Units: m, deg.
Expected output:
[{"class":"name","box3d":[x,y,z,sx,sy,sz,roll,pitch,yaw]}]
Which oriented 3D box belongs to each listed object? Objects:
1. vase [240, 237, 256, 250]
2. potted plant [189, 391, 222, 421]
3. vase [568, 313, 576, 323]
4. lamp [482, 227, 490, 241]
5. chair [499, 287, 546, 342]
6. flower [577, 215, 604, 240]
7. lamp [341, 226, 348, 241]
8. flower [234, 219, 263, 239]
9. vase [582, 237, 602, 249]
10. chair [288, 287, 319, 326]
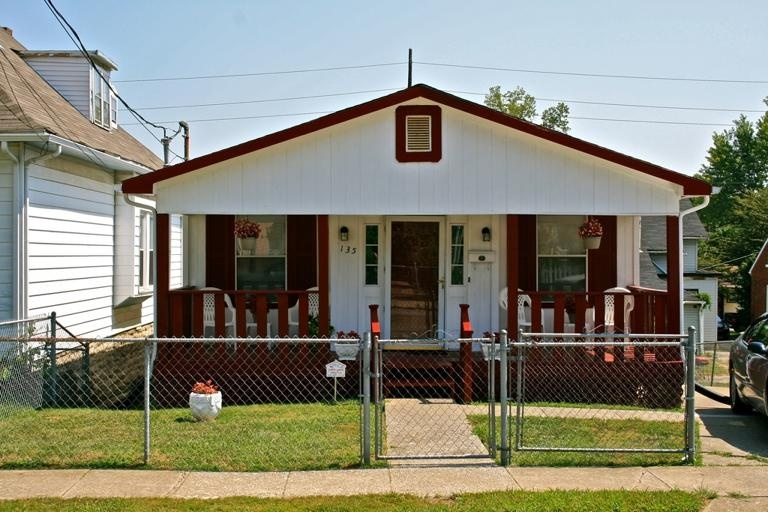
[{"class":"vase","box3d":[-3.281,-0.292,19.686,0.454,0.341,0.252,0,-3,0]},{"class":"potted plant","box3d":[-3.373,2.812,15.363,0.508,0.414,0.524,1,-3,-9]},{"class":"vase","box3d":[4.369,1.440,19.172,0.102,0.271,0.257,5,13,23]},{"class":"lamp","box3d":[2.352,-0.496,18.942,0.230,0.341,0.246,0,10,-5]},{"class":"chair","box3d":[3.001,1.302,18.327,1.037,1.441,1.062,0,-3,-24]},{"class":"flower","box3d":[4.792,-0.624,18.988,0.544,0.491,0.747,3,12,13]},{"class":"lamp","box3d":[-0.929,-0.525,18.951,0.247,0.464,0.250,0,2,-3]},{"class":"flower","box3d":[-3.238,-0.618,19.030,0.482,0.340,0.492,0,-1,34]},{"class":"vase","box3d":[4.781,-0.306,18.805,0.293,0.228,0.301,0,2,-12]},{"class":"chair","box3d":[-1.746,1.138,18.396,0.857,1.152,0.710,1,-3,-9]}]
